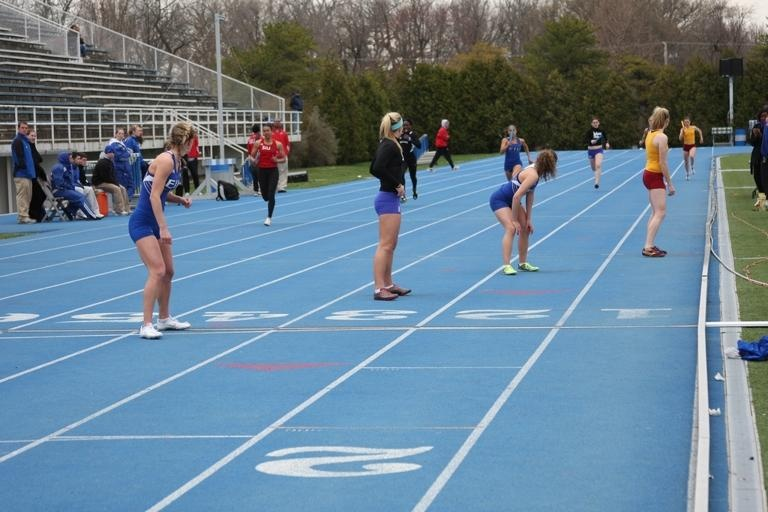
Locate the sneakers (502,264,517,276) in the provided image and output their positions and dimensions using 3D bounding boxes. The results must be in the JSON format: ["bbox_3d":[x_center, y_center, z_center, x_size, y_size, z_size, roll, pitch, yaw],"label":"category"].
[{"bbox_3d":[1.925,0.181,12.185,0.204,0.167,0.312,-2,12,8],"label":"sneakers"}]

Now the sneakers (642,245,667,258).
[{"bbox_3d":[4.406,-0.067,12.955,0.449,0.200,0.161,1,8,6],"label":"sneakers"}]

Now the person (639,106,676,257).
[{"bbox_3d":[4.513,-1.211,13.260,0.457,2.397,1.333,0,12,19],"label":"person"}]

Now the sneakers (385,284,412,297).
[{"bbox_3d":[0.221,0.460,10.910,0.346,0.140,0.136,4,8,-9],"label":"sneakers"}]

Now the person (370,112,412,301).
[{"bbox_3d":[0.065,-0.659,10.799,0.507,2.441,0.756,-3,11,1],"label":"person"}]

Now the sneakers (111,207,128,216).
[{"bbox_3d":[-6.838,-1.132,21.108,0.508,0.212,0.173,-2,4,5],"label":"sneakers"}]

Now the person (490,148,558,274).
[{"bbox_3d":[2.140,-0.674,12.346,0.959,1.857,1.296,-2,11,8],"label":"person"}]

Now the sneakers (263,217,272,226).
[{"bbox_3d":[-2.624,-0.770,18.331,0.113,0.119,0.281,0,-1,0],"label":"sneakers"}]

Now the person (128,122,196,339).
[{"bbox_3d":[-2.474,-0.277,9.120,0.777,2.362,0.466,-9,12,-27],"label":"person"}]

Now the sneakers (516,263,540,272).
[{"bbox_3d":[2.233,0.173,12.421,0.364,0.151,0.130,2,4,4],"label":"sneakers"}]

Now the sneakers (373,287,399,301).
[{"bbox_3d":[0.043,0.506,10.728,0.273,0.106,0.154,1,5,18],"label":"sneakers"}]

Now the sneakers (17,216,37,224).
[{"bbox_3d":[-8.551,-0.863,19.465,0.408,0.174,0.149,-3,22,-3],"label":"sneakers"}]

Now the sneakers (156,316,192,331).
[{"bbox_3d":[-2.446,0.782,9.410,0.300,0.127,0.169,-2,4,-11],"label":"sneakers"}]

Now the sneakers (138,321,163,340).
[{"bbox_3d":[-2.595,0.847,9.115,0.330,0.151,0.130,-2,1,44],"label":"sneakers"}]
